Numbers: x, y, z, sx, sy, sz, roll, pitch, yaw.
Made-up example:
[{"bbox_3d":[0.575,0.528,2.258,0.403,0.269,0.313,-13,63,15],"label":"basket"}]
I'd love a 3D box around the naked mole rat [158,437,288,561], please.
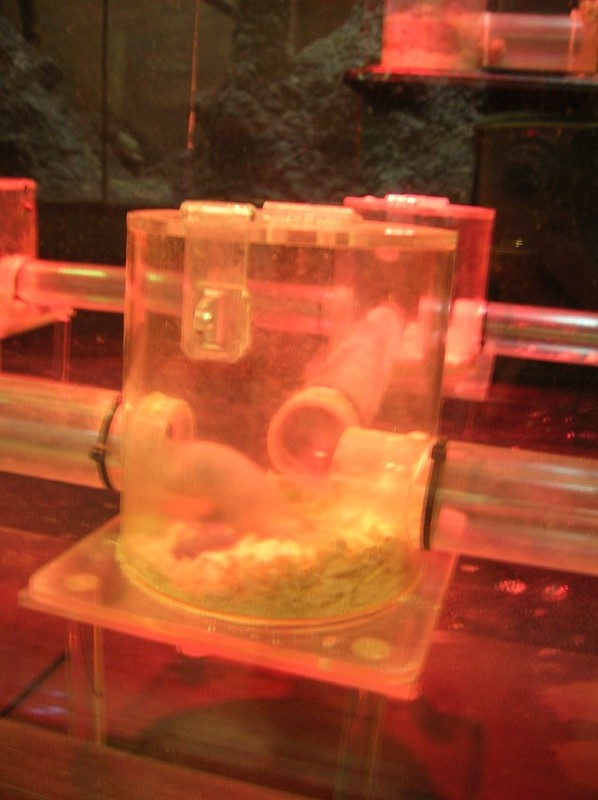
[{"bbox_3d":[-0.037,0.039,0.364,0.057,0.044,0.042,31,46,31],"label":"naked mole rat"}]
